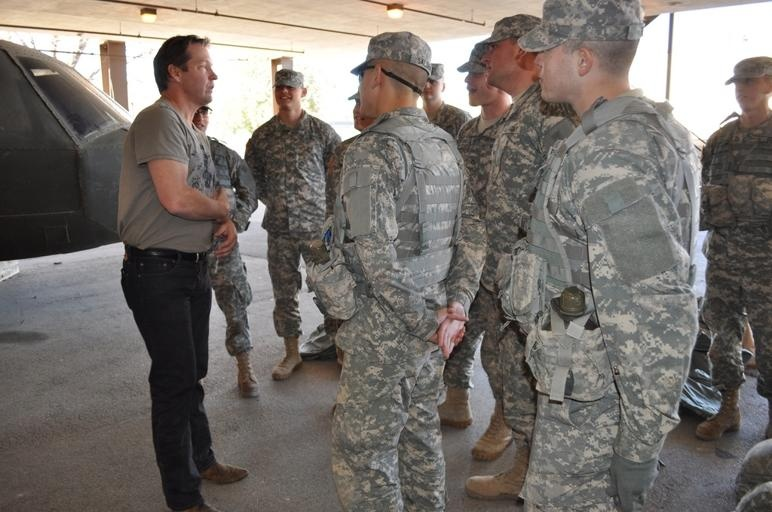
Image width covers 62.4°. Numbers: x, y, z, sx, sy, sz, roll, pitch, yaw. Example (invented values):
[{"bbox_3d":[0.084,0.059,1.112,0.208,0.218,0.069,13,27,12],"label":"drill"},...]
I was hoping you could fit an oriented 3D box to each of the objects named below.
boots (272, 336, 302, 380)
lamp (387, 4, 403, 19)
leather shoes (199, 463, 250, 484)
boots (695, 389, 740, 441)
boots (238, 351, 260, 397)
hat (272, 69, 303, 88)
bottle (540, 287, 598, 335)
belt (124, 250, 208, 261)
[{"bbox_3d":[-0.885,0.888,5.655,0.173,0.337,0.373,11,22,27],"label":"boots"},{"bbox_3d":[0.160,-4.535,11.870,0.262,0.173,0.230,-2,3,21],"label":"lamp"},{"bbox_3d":[-1.085,1.474,4.306,0.345,0.122,0.115,2,22,-10],"label":"leather shoes"},{"bbox_3d":[2.488,1.209,4.788,0.420,0.365,0.173,-16,21,1],"label":"boots"},{"bbox_3d":[-1.167,0.992,5.394,0.159,0.284,0.441,-4,15,-19],"label":"boots"},{"bbox_3d":[-0.843,-1.580,5.682,0.282,0.163,0.195,-2,13,-19],"label":"hat"},{"bbox_3d":[0.880,0.246,3.032,0.235,0.089,0.216,-5,23,2],"label":"bottle"},{"bbox_3d":[-1.335,-0.006,3.892,0.464,0.081,0.136,-2,13,-19],"label":"belt"}]
